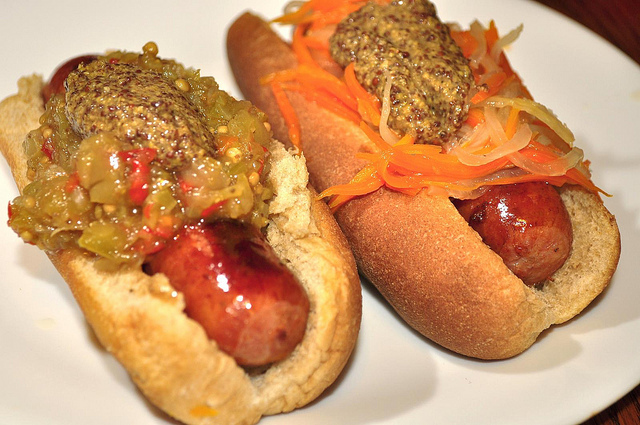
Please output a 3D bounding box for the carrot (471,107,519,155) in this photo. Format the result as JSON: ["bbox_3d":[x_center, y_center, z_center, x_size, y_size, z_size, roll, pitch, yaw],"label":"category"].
[{"bbox_3d":[0.904,-0.393,3.351,0.131,0.089,0.359,24,78,3],"label":"carrot"}]

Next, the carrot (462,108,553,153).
[{"bbox_3d":[0.939,-0.416,3.289,0.314,0.067,0.084,44,112,35],"label":"carrot"}]

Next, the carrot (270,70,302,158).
[{"bbox_3d":[-0.141,-0.558,3.656,0.125,0.700,0.116,7,61,14],"label":"carrot"}]

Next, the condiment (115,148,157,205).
[{"bbox_3d":[-0.808,-0.162,2.886,0.154,0.061,0.245,-2,94,-14],"label":"condiment"}]

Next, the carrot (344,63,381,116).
[{"bbox_3d":[0.219,-0.624,3.407,0.064,0.186,0.255,-31,86,2],"label":"carrot"}]

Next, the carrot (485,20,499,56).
[{"bbox_3d":[0.953,-0.978,3.610,0.045,0.068,0.260,-1,89,8],"label":"carrot"}]
